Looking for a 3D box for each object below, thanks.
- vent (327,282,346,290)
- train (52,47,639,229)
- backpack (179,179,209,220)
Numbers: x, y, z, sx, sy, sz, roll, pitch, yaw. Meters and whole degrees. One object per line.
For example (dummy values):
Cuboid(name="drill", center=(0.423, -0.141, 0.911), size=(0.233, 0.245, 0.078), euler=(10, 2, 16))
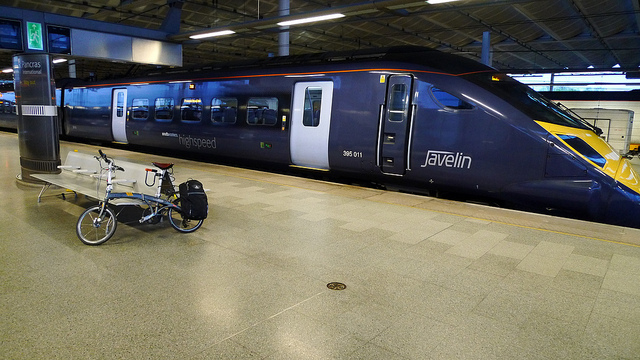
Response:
Cuboid(name="vent", center=(0.287, 1.730, 5.986), size=(0.298, 0.035, 0.178), euler=(3, 11, 6))
Cuboid(name="train", center=(-0.329, -2.031, 12.084), size=(17.776, 4.169, 2.330), euler=(7, 14, 24))
Cuboid(name="backpack", center=(-2.605, 0.430, 7.520), size=(0.566, 0.798, 0.367), euler=(1, 13, -3))
